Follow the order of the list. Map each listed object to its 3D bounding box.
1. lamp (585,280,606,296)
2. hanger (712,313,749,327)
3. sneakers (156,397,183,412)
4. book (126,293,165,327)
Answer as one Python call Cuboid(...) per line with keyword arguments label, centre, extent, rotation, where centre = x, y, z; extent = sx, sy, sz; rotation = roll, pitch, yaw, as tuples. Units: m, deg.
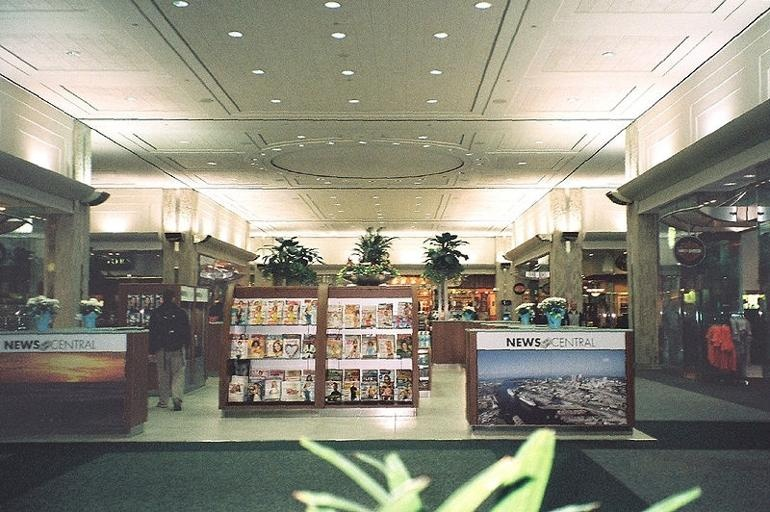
Cuboid(label="lamp", centre=(7.884, 1.203, 21.651), extent=(0.810, 0.510, 0.704), rotation=(-1, -2, -5))
Cuboid(label="hanger", centre=(5.698, 1.041, 9.436), extent=(0.380, 0.158, 0.431), rotation=(1, -5, 4))
Cuboid(label="sneakers", centre=(-3.767, 2.603, 10.037), extent=(0.234, 0.227, 0.626), rotation=(7, -17, -29))
Cuboid(label="book", centre=(-4.635, 1.006, 11.109), extent=(0.955, 0.699, 0.272), rotation=(0, -5, -2))
